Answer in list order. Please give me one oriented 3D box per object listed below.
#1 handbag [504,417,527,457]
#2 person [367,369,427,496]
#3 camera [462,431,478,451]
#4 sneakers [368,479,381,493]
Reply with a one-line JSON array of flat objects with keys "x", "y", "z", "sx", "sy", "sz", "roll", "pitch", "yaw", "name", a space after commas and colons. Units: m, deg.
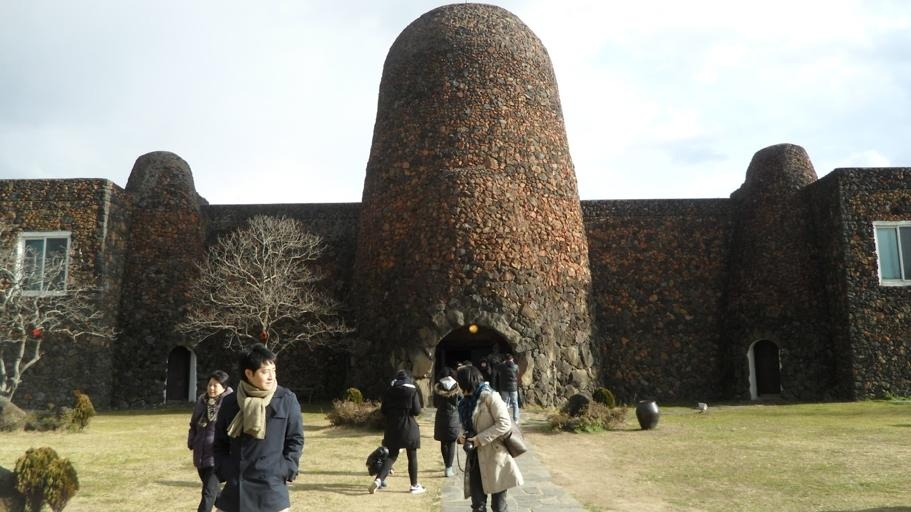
[{"x": 1.334, "y": 4.142, "z": 14.710, "sx": 0.457, "sy": 0.891, "sz": 1.174, "roll": -2, "pitch": -9, "yaw": 6, "name": "handbag"}, {"x": -1.421, "y": 4.428, "z": 16.620, "sx": 1.244, "sy": 2.991, "sz": 0.835, "roll": 0, "pitch": -10, "yaw": -4, "name": "person"}, {"x": 0.312, "y": 4.033, "z": 14.285, "sx": 0.451, "sy": 0.381, "sz": 0.277, "roll": -1, "pitch": 2, "yaw": -35, "name": "camera"}, {"x": -1.950, "y": 5.728, "z": 16.231, "sx": 0.225, "sy": 0.201, "sz": 0.437, "roll": 28, "pitch": -55, "yaw": -31, "name": "sneakers"}]
